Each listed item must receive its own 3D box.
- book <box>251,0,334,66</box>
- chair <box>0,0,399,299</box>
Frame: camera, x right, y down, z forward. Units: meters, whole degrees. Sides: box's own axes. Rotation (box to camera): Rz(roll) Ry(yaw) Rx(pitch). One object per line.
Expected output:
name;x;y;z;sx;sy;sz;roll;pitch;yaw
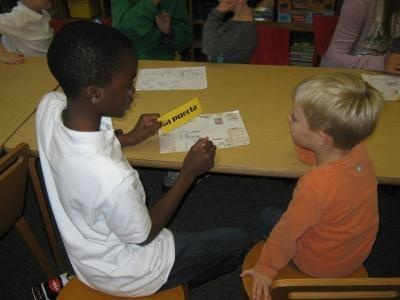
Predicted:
book;0.825;-1.039;2.923;0.998;0.603;0.308;1;39;5
chair;-0.249;0.041;1.418;1.109;0.565;0.702;4;45;-4
